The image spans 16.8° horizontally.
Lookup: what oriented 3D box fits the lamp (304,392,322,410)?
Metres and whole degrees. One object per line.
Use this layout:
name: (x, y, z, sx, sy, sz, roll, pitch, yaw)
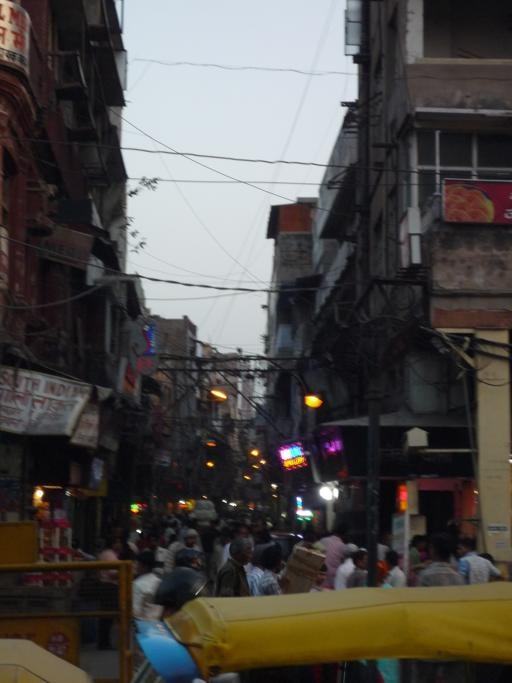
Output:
lamp: (1.125, 1.084, 33.648, 0.411, 0.192, 0.450, 9, -35, 13)
